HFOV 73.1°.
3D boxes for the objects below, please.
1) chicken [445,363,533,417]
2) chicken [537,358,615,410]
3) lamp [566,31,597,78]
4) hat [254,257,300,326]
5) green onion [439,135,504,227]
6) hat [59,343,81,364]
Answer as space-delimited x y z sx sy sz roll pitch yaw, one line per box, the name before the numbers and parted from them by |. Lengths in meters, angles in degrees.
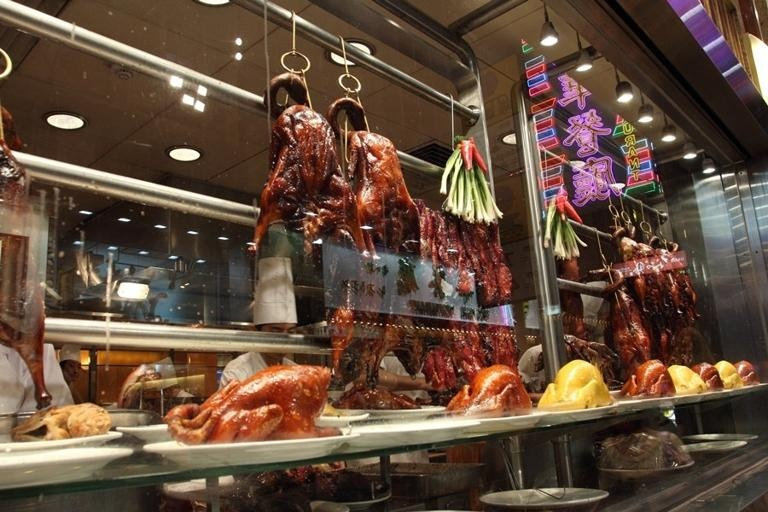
chicken | 0.308 0.383 1.557 0.221 0.137 0.188 9 -4 -23
chicken | 0.621 0.418 1.676 0.252 0.157 0.155 -3 -11 -4
lamp | 0.752 -0.759 1.970 0.058 0.106 0.170 -12 -16 32
hat | -0.311 0.100 1.479 0.112 0.190 0.040 1 -15 -15
green onion | 0.363 -0.322 2.177 0.288 0.379 0.051 5 -16 -27
hat | -0.794 0.245 1.314 0.042 0.043 0.056 7 -16 -32
